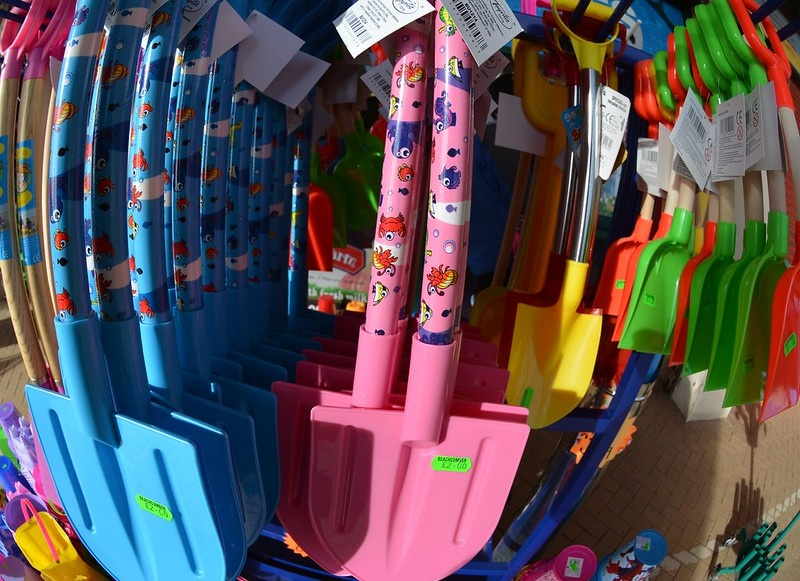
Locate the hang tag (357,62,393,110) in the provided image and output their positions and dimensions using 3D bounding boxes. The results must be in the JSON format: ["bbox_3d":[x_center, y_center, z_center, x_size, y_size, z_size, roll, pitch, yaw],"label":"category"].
[{"bbox_3d":[-0.048,-0.404,1.111,0.023,0.099,0.102,-13,28,-18],"label":"hang tag"}]

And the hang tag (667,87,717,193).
[{"bbox_3d":[0.564,-0.293,1.070,0.008,0.164,0.165,5,-30,40],"label":"hang tag"}]
